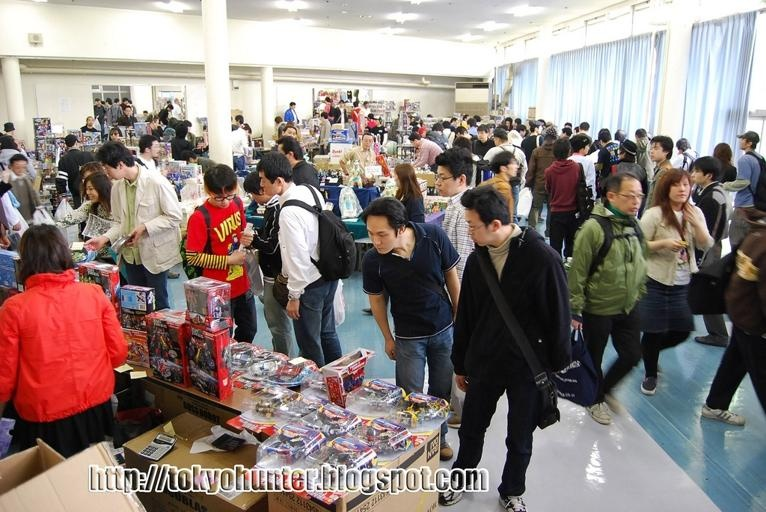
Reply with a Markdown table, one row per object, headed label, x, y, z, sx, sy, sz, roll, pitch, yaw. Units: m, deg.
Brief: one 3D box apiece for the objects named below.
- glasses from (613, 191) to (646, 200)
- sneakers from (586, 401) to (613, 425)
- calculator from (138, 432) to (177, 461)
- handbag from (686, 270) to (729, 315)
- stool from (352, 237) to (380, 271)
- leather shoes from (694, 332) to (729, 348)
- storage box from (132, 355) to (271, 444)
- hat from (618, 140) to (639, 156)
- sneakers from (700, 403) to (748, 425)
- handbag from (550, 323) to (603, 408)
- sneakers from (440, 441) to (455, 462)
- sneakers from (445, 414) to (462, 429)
| label | x | y | z | sx | sy | sz | roll | pitch | yaw |
| --- | --- | --- | --- | --- | --- | --- | --- | --- | --- |
| glasses | 1.839 | -0.447 | 3.628 | 0.266 | 0.063 | 0.106 | -8 | 17 | -31 |
| sneakers | 1.736 | 1.256 | 3.981 | 0.097 | 0.101 | 0.254 | -3 | 2 | -1 |
| calculator | -1.226 | 1.031 | 2.716 | 0.098 | 0.038 | 0.130 | 12 | 26 | 18 |
| handbag | 2.286 | 0.229 | 3.602 | 0.375 | 0.370 | 0.259 | 2 | 6 | 35 |
| stool | -0.222 | -0.035 | 6.593 | 0.401 | 0.394 | 0.406 | 3 | 4 | 21 |
| leather shoes | 3.238 | 0.819 | 4.904 | 0.301 | 0.130 | 0.103 | 6 | 13 | 33 |
| storage box | -1.043 | 0.909 | 3.282 | 0.817 | 0.274 | 0.704 | 14 | 2 | 16 |
| hat | 3.180 | -1.434 | 6.450 | 0.170 | 0.082 | 0.234 | 15 | 30 | 2 |
| sneakers | 2.689 | 1.260 | 3.959 | 0.336 | 0.134 | 0.125 | 2 | 8 | 15 |
| handbag | 1.398 | 0.807 | 3.548 | 0.317 | 0.545 | 0.188 | -1 | 14 | -7 |
| sneakers | 0.469 | 1.390 | 3.591 | 0.091 | 0.104 | 0.183 | 4 | 15 | 12 |
| sneakers | 0.544 | 1.273 | 3.890 | 0.121 | 0.143 | 0.157 | 2 | -8 | -1 |
